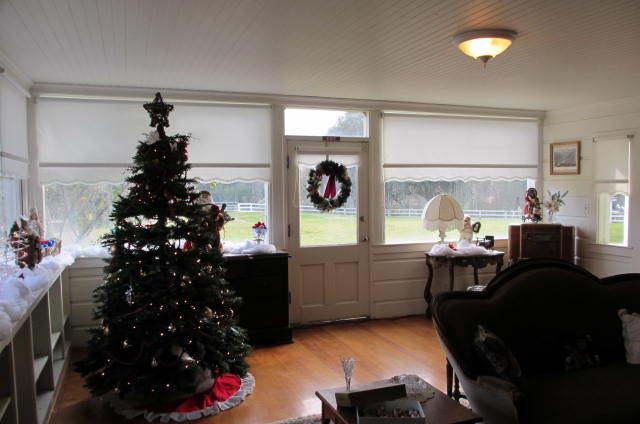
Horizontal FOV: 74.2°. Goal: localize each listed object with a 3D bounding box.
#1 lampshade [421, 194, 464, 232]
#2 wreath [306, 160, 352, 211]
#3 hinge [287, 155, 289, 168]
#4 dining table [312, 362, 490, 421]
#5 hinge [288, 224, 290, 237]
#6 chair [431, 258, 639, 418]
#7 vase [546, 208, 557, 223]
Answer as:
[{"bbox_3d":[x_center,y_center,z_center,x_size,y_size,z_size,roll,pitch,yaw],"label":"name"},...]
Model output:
[{"bbox_3d":[1.828,0.029,6.325,0.433,0.632,0.438,-1,1,-19],"label":"lampshade"},{"bbox_3d":[0.137,-0.376,6.024,0.624,0.707,0.257,14,0,-11],"label":"wreath"},{"bbox_3d":[-0.451,-0.730,5.965,0.020,0.158,0.027,-1,6,-4],"label":"hinge"},{"bbox_3d":[0.653,1.441,3.381,0.873,0.202,0.824,-2,2,-13],"label":"dining table"},{"bbox_3d":[-0.445,0.249,5.993,0.024,0.153,0.012,-3,7,-21],"label":"hinge"},{"bbox_3d":[1.905,0.984,3.407,1.926,1.048,0.821,-1,7,-9],"label":"chair"},{"bbox_3d":[3.747,0.035,6.843,0.162,0.271,0.513,3,7,28],"label":"vase"}]
